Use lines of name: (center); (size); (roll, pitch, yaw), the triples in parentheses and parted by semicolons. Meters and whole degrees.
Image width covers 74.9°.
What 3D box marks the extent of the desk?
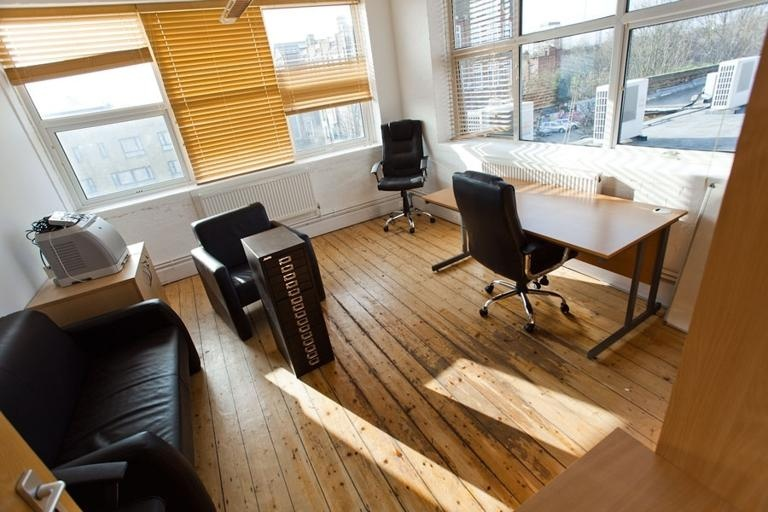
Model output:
desk: (1.706, 0.080, 4.244); (1.050, 0.961, 1.126); (-27, 31, -31)

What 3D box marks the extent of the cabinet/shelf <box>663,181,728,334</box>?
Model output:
cabinet/shelf: (2.405, 0.013, 3.923); (0.213, 1.161, 0.526); (13, 35, 37)

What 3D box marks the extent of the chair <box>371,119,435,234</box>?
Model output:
chair: (0.217, -1.004, 6.258); (0.683, 1.241, 0.833); (-7, 27, 6)

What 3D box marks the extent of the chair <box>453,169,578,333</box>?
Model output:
chair: (1.124, -0.080, 4.300); (0.850, 1.326, 0.978); (16, 32, 37)

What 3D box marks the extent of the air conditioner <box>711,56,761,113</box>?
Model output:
air conditioner: (2.630, -1.312, 3.796); (0.214, 0.361, 0.239); (14, 35, 39)

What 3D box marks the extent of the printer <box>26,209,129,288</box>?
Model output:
printer: (-2.393, -0.072, 4.290); (0.792, 0.709, 0.539); (-3, 26, -11)

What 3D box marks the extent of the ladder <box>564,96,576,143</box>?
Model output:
ladder: (1.753, -1.274, 4.760); (0.092, 0.324, 0.065); (-3, 26, 4)

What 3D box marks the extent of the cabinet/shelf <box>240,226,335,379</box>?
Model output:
cabinet/shelf: (-0.762, 0.385, 4.120); (0.414, 1.107, 0.534); (-20, 29, -18)

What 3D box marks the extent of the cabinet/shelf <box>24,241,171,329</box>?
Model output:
cabinet/shelf: (-2.455, 0.515, 4.588); (0.771, 0.865, 0.976); (-16, 23, -13)
